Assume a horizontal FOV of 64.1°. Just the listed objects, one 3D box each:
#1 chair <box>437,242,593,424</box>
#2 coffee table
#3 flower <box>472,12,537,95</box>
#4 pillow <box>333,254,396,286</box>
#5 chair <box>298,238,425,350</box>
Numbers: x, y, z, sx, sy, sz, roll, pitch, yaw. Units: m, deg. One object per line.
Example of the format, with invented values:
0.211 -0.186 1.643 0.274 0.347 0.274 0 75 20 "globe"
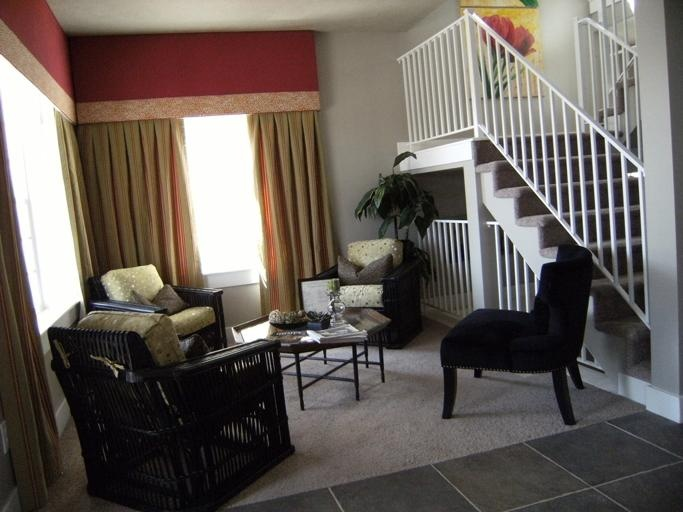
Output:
1.223 0.499 3.813 0.919 1.079 0.812 -1 12 23 "chair"
-0.036 0.730 3.999 0.732 0.316 0.758 -14 4 -28 "coffee table"
1.832 -2.146 6.000 0.575 0.841 0.460 10 -4 26 "flower"
0.204 0.159 5.248 0.590 0.342 0.269 1 5 37 "pillow"
0.239 0.432 5.535 0.981 0.922 0.974 -8 -3 20 "chair"
